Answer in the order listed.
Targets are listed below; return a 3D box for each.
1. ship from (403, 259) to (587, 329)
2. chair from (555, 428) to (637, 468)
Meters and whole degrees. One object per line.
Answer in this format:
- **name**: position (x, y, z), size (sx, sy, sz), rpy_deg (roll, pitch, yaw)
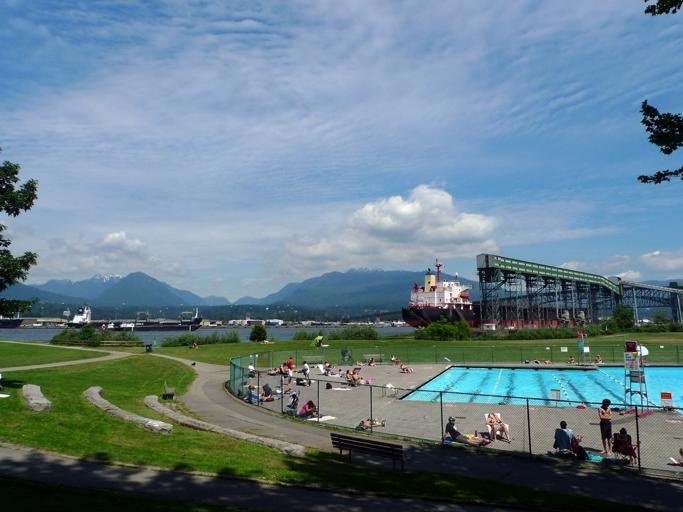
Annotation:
- **ship**: position (21.794, 8.327, 117.541), size (12.390, 14.783, 21.578), rpy_deg (-1, -10, 23)
- **chair**: position (11.156, 8.432, 24.385), size (3.023, 1.312, 0.960), rpy_deg (-1, -11, 18)
